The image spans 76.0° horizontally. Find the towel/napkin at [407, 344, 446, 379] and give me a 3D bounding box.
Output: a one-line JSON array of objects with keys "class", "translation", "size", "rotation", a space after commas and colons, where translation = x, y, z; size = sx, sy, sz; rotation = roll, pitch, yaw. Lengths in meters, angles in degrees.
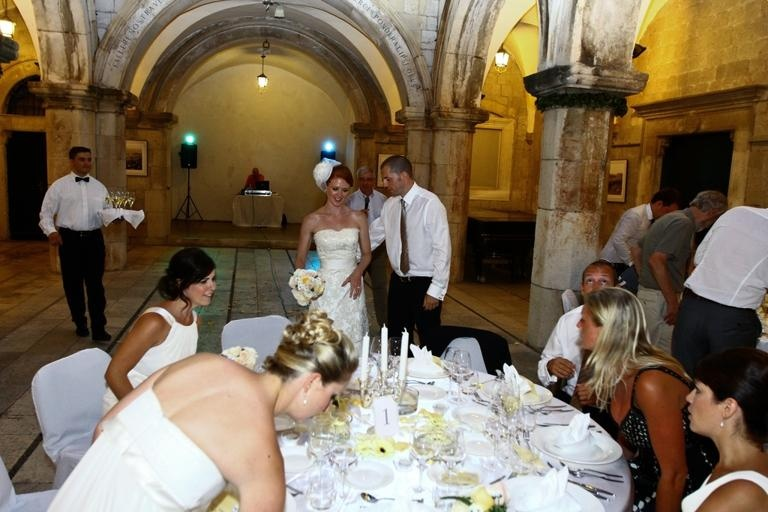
[{"class": "towel/napkin", "translation": [0.339, 0.828, 3.847], "size": [0.258, 0.118, 0.283], "rotation": [1, -6, 3]}]

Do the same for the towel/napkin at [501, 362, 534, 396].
[{"class": "towel/napkin", "translation": [0.930, 0.865, 3.385], "size": [0.066, 0.232, 0.184], "rotation": [-31, 23, 33]}]

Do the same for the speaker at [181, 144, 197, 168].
[{"class": "speaker", "translation": [-7.144, -3.660, 17.958], "size": [0.564, 0.888, 0.447], "rotation": [4, 22, -8]}]

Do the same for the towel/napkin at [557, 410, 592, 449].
[{"class": "towel/napkin", "translation": [1.124, 1.037, 2.885], "size": [0.144, 0.219, 0.070], "rotation": [17, -14, 27]}]

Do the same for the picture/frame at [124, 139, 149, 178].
[{"class": "picture/frame", "translation": [-6.834, -2.701, 13.642], "size": [0.535, 0.957, 0.349], "rotation": [-2, 11, -19]}]

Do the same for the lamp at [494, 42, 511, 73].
[{"class": "lamp", "translation": [2.932, -4.981, 12.197], "size": [0.246, 0.637, 1.469], "rotation": [4, 11, 14]}]

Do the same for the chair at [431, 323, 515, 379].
[{"class": "chair", "translation": [0.724, 0.777, 4.206], "size": [0.430, 0.649, 0.469], "rotation": [6, 14, 39]}]
